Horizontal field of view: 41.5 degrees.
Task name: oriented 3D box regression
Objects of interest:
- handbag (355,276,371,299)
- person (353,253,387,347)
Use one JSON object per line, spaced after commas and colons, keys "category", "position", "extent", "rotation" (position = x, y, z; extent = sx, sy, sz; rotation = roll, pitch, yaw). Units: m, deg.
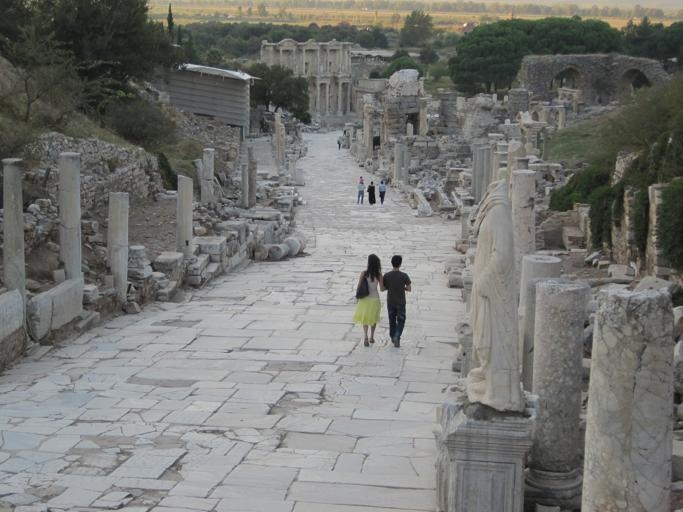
{"category": "handbag", "position": [0.333, 0.514, 14.393], "extent": [0.214, 0.404, 0.191], "rotation": [6, 14, 17]}
{"category": "person", "position": [0.419, 0.671, 14.532], "extent": [0.459, 1.408, 0.817], "rotation": [1, 14, 1]}
